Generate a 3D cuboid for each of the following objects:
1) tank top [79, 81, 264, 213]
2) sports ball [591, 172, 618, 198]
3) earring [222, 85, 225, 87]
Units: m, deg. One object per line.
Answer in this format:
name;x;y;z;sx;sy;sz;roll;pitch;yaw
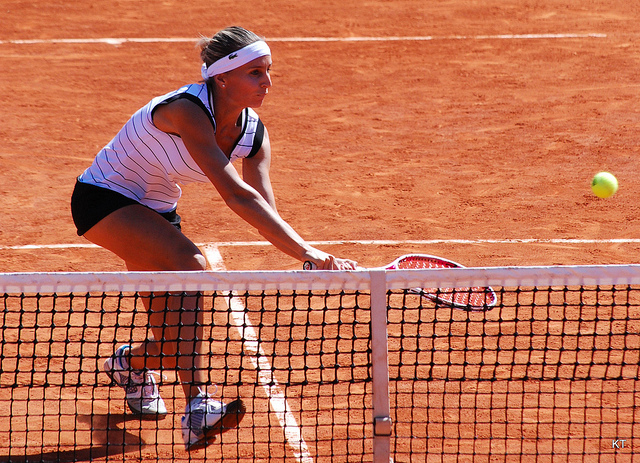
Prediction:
tank top;-1.464;-0.702;9.546;1.252;1.141;0.399;-1;11;14
sports ball;3.640;-0.581;14.116;0.265;0.262;0.255;-6;-36;-4
earring;-0.822;-1.236;9.328;0.026;0.020;0.007;-2;3;-8
